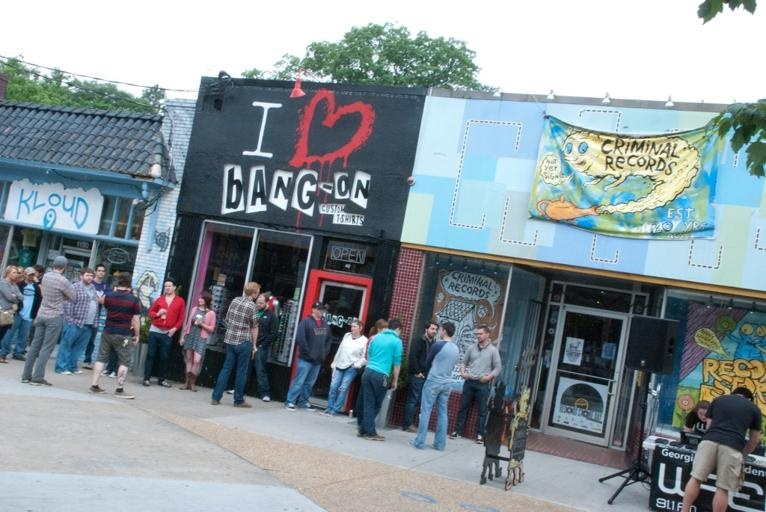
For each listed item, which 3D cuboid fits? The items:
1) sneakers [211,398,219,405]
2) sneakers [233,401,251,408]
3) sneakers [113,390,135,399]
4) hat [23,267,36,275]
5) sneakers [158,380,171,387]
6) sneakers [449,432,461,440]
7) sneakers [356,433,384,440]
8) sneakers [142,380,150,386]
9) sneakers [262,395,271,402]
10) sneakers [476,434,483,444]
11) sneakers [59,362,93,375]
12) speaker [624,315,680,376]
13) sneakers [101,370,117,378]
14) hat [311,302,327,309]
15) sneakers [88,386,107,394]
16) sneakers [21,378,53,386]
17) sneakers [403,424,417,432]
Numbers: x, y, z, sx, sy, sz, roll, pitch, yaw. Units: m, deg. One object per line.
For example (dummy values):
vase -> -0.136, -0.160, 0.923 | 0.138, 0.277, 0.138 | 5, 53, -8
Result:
sneakers -> -3.714, 3.216, 14.908 | 0.148, 0.145, 0.100 | 2, -1, 3
sneakers -> -3.139, 3.323, 15.063 | 0.387, 0.162, 0.131 | 3, 2, -23
sneakers -> -5.391, 2.884, 14.036 | 0.443, 0.178, 0.210 | 6, -1, 1
hat -> -8.788, 0.378, 16.798 | 0.182, 0.183, 0.235 | 0, -9, -12
sneakers -> -5.269, 3.100, 16.319 | 0.325, 0.146, 0.130 | 4, 2, 0
sneakers -> 1.615, 4.010, 15.008 | 0.297, 0.125, 0.107 | 6, -8, -29
sneakers -> -0.270, 3.675, 13.864 | 0.531, 0.224, 0.195 | 1, 0, -1
sneakers -> -5.564, 2.993, 15.863 | 0.079, 0.099, 0.234 | 5, -17, -23
sneakers -> -2.794, 3.429, 16.234 | 0.151, 0.079, 0.150 | -3, 5, -19
sneakers -> 2.128, 4.043, 14.886 | 0.186, 0.190, 0.128 | -2, -8, 16
sneakers -> -7.259, 2.669, 15.827 | 0.574, 0.248, 0.195 | -3, -1, 10
speaker -> 4.967, 1.633, 12.478 | 0.810, 0.995, 0.389 | 8, -1, 21
sneakers -> -6.532, 2.824, 16.139 | 0.401, 0.175, 0.145 | 3, -2, 4
hat -> -1.456, 1.149, 15.505 | 0.226, 0.118, 0.165 | -5, 5, -22
sneakers -> -5.899, 2.759, 13.953 | 0.338, 0.154, 0.143 | 2, 2, -30
sneakers -> -7.015, 2.572, 13.700 | 0.541, 0.217, 0.199 | 3, -1, -14
sneakers -> 0.590, 3.902, 15.252 | 0.368, 0.263, 0.120 | 0, 1, 0
